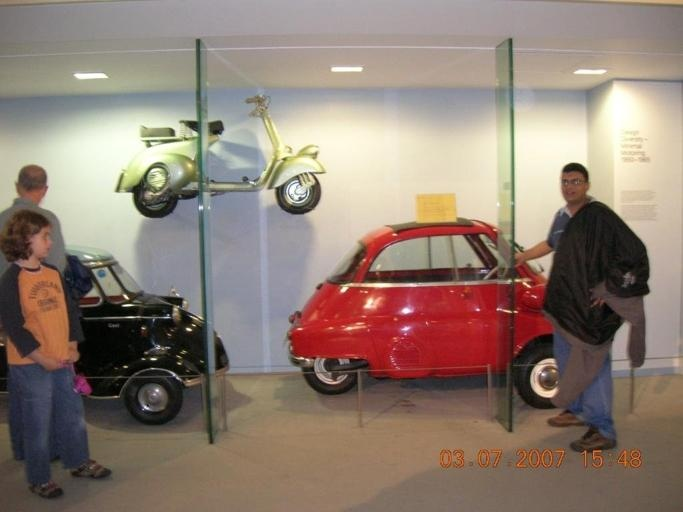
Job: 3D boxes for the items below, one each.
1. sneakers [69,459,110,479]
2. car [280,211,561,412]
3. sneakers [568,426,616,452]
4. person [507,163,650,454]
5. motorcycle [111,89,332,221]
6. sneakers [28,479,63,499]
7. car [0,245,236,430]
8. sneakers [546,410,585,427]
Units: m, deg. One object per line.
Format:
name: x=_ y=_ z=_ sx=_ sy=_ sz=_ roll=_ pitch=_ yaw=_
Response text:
sneakers: x=-1.691 y=1.410 z=3.802 sx=0.278 sy=0.107 sz=0.104 roll=1 pitch=8 yaw=-5
car: x=0.572 y=0.338 z=4.610 sx=1.965 sy=1.040 sz=1.272 roll=-3 pitch=5 yaw=-1
sneakers: x=1.698 y=1.266 z=3.955 sx=0.354 sy=0.160 sz=0.127 roll=0 pitch=0 yaw=3
person: x=1.692 y=0.333 z=3.935 sx=0.718 sy=1.944 sz=0.455 roll=1 pitch=7 yaw=21
motorcycle: x=-0.922 y=-0.739 z=4.526 sx=1.784 sy=0.918 sz=0.709 roll=-1 pitch=10 yaw=-7
sneakers: x=-1.848 y=1.466 z=3.590 sx=0.210 sy=0.077 sz=0.089 roll=0 pitch=18 yaw=0
car: x=-1.481 y=0.654 z=4.575 sx=1.943 sy=0.919 sz=0.994 roll=-1 pitch=7 yaw=-8
sneakers: x=1.598 y=1.160 z=4.104 sx=0.244 sy=0.099 sz=0.100 roll=1 pitch=0 yaw=11
